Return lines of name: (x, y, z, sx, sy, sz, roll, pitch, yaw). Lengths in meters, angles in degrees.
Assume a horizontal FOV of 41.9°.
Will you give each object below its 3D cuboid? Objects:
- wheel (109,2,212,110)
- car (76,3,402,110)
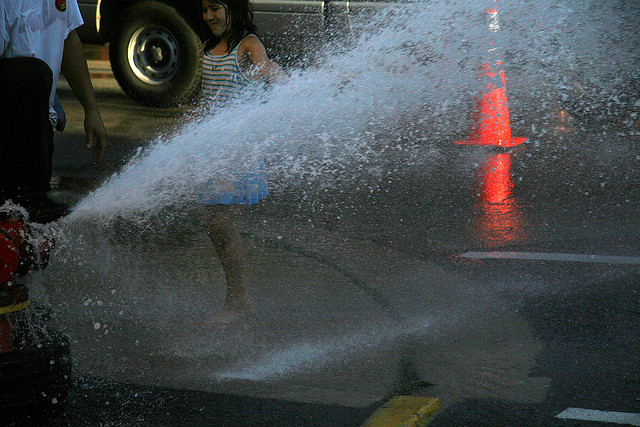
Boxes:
wheel: (-1.798, -1.797, 9.477, 1.141, 1.216, 0.719, 23, 36, 38)
car: (-1.281, -1.778, 9.396, 4.132, 0.903, 1.562, 3, 13, 12)
